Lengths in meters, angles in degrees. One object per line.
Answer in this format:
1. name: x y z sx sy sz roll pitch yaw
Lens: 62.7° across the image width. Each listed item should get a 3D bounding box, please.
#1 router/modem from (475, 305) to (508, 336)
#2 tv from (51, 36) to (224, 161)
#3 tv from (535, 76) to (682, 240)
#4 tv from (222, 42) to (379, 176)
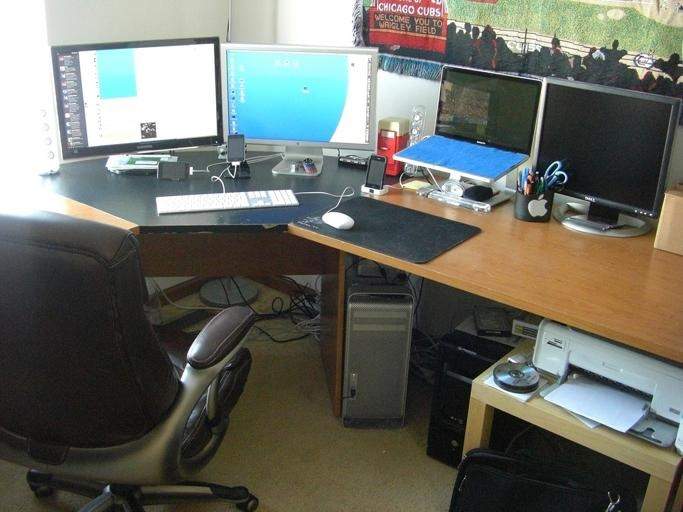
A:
1. router/modem: 0.589 0.257 2.205 0.092 0.033 0.141 3 27 3
2. tv: -0.904 -0.697 2.438 0.582 0.413 0.042 -9 26 -16
3. tv: 0.988 -0.361 2.046 0.547 0.537 0.352 -9 2 -1
4. tv: -0.194 -0.668 2.504 0.613 0.472 0.199 6 28 6
